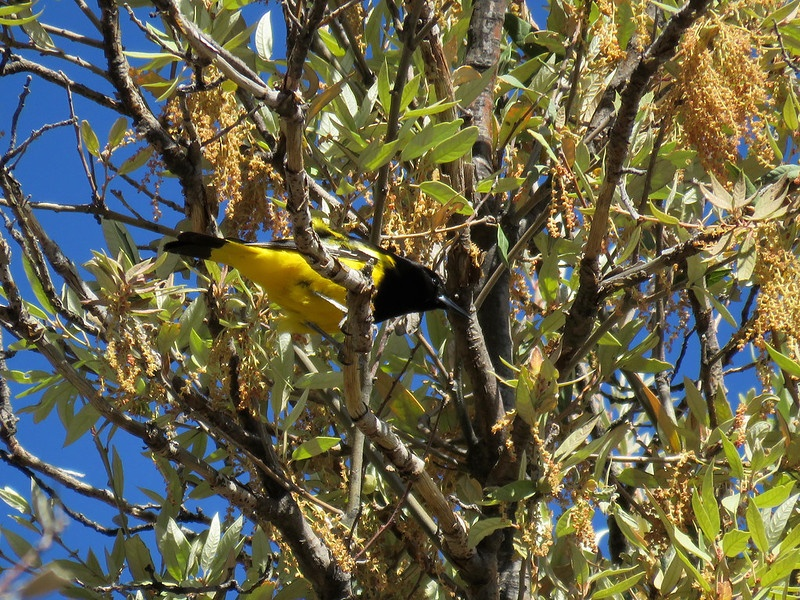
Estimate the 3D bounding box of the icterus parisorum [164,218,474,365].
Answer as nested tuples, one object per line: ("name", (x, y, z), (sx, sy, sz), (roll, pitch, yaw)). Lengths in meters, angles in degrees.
("icterus parisorum", (-0.378, -0.102, 6.621), (1.394, 0.548, 0.413), (23, -42, -10))
